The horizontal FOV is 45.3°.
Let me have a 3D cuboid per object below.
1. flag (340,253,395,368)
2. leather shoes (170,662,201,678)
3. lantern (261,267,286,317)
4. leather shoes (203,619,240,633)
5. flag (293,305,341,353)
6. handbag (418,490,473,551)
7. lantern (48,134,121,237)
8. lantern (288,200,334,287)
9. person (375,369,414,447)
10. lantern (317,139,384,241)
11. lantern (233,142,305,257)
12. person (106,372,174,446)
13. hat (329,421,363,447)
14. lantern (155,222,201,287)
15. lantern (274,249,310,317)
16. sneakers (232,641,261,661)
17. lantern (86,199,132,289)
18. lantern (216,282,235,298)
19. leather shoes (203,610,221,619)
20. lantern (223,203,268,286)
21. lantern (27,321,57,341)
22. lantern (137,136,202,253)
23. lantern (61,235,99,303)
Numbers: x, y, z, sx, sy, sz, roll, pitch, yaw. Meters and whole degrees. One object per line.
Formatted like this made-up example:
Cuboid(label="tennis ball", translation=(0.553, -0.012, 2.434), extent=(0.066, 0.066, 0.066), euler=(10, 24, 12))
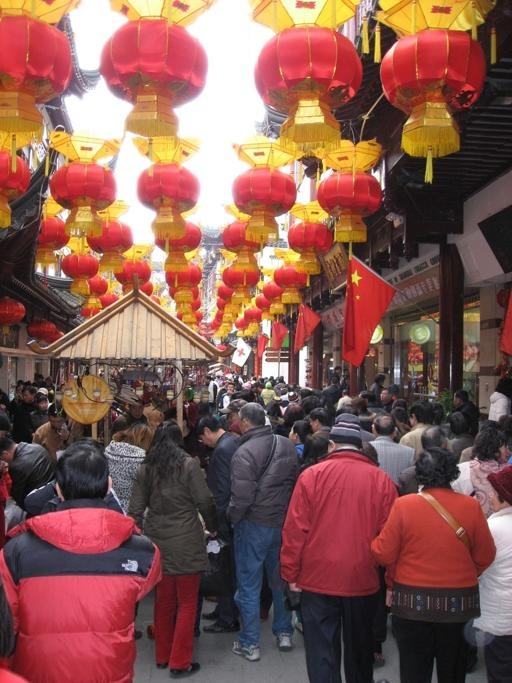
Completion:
Cuboid(label="flag", translation=(1.266, -0.370, 6.957), extent=(0.557, 1.332, 0.448), euler=(0, -7, 7))
Cuboid(label="leather shoes", translation=(-0.447, 2.108, 3.948), extent=(0.188, 0.077, 0.065), euler=(9, -25, -37))
Cuboid(label="lantern", translation=(0.532, -1.242, 15.527), extent=(0.698, 1.164, 0.691), euler=(-7, -10, 13))
Cuboid(label="leather shoes", translation=(-0.260, 2.215, 4.810), extent=(0.293, 0.126, 0.100), euler=(5, -16, -1))
Cuboid(label="flag", translation=(1.224, -0.407, 12.706), extent=(1.007, 1.005, 0.142), euler=(-15, -19, 26))
Cuboid(label="handbag", translation=(0.820, 0.806, 2.826), extent=(0.307, 0.067, 0.308), euler=(12, 22, -25))
Cuboid(label="lantern", translation=(-2.025, -1.845, 7.236), extent=(0.775, 1.111, 0.756), euler=(3, -4, -34))
Cuboid(label="lantern", translation=(0.844, -1.543, 9.545), extent=(0.675, 1.065, 0.660), euler=(0, 6, -16))
Cuboid(label="person", translation=(1.994, 0.869, 8.655), extent=(0.466, 1.476, 0.434), euler=(-7, -25, 8))
Cuboid(label="lantern", translation=(1.130, -1.758, 7.197), extent=(0.729, 1.017, 0.746), euler=(0, 6, -12))
Cuboid(label="lantern", translation=(0.094, -1.775, 7.119), extent=(0.743, 1.252, 0.652), euler=(0, -7, 3))
Cuboid(label="person", translation=(-1.292, 0.647, 6.830), extent=(0.771, 1.005, 0.358), euler=(2, -10, 2))
Cuboid(label="hat", translation=(0.524, 0.529, 3.530), extent=(0.125, 0.129, 0.167), euler=(2, 6, 6))
Cuboid(label="lantern", translation=(-1.225, -1.486, 9.492), extent=(0.705, 0.921, 0.711), euler=(2, -1, 37))
Cuboid(label="lantern", translation=(0.772, -1.346, 12.941), extent=(0.685, 1.147, 0.695), euler=(-9, -16, 43))
Cuboid(label="sneakers", translation=(-0.062, 2.126, 4.267), extent=(0.079, 0.090, 0.210), euler=(10, -6, -39))
Cuboid(label="lantern", translation=(-2.307, -1.662, 9.806), extent=(0.611, 1.076, 0.702), euler=(7, -10, -32))
Cuboid(label="lantern", translation=(-0.775, -1.298, 15.822), extent=(0.417, 0.472, 0.416), euler=(0, -41, -4))
Cuboid(label="leather shoes", translation=(-0.363, 2.254, 5.071), extent=(0.180, 0.075, 0.061), euler=(4, -13, 4))
Cuboid(label="lantern", translation=(-0.154, -1.596, 9.584), extent=(0.597, 0.977, 0.582), euler=(-4, 6, -17))
Cuboid(label="lantern", translation=(-4.812, -0.245, 13.860), extent=(0.527, 0.453, 0.753), euler=(2, -7, -12))
Cuboid(label="lantern", translation=(-1.028, -1.784, 7.224), extent=(0.747, 1.086, 0.734), euler=(0, 0, 0))
Cuboid(label="lantern", translation=(-3.044, -1.383, 10.638), extent=(0.512, 1.068, 0.505), euler=(2, 2, -12))
